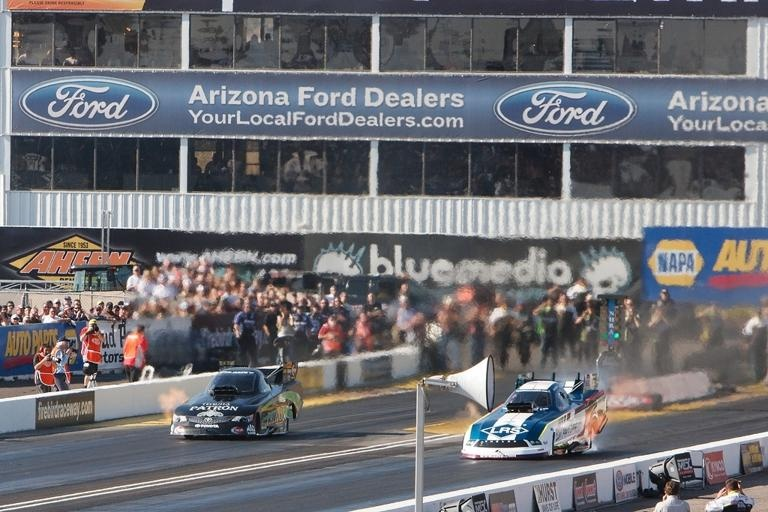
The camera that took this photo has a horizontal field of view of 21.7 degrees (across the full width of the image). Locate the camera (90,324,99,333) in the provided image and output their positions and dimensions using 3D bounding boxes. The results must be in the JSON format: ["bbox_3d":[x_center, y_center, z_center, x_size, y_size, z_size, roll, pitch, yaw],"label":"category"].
[{"bbox_3d":[-12.628,3.137,87.177,0.247,0.322,0.338,7,2,25],"label":"camera"}]

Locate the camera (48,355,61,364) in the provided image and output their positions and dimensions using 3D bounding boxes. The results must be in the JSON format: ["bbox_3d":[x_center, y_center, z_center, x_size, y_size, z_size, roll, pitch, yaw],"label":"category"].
[{"bbox_3d":[-14.011,4.406,85.220,0.514,0.174,0.178,10,-1,1],"label":"camera"}]
